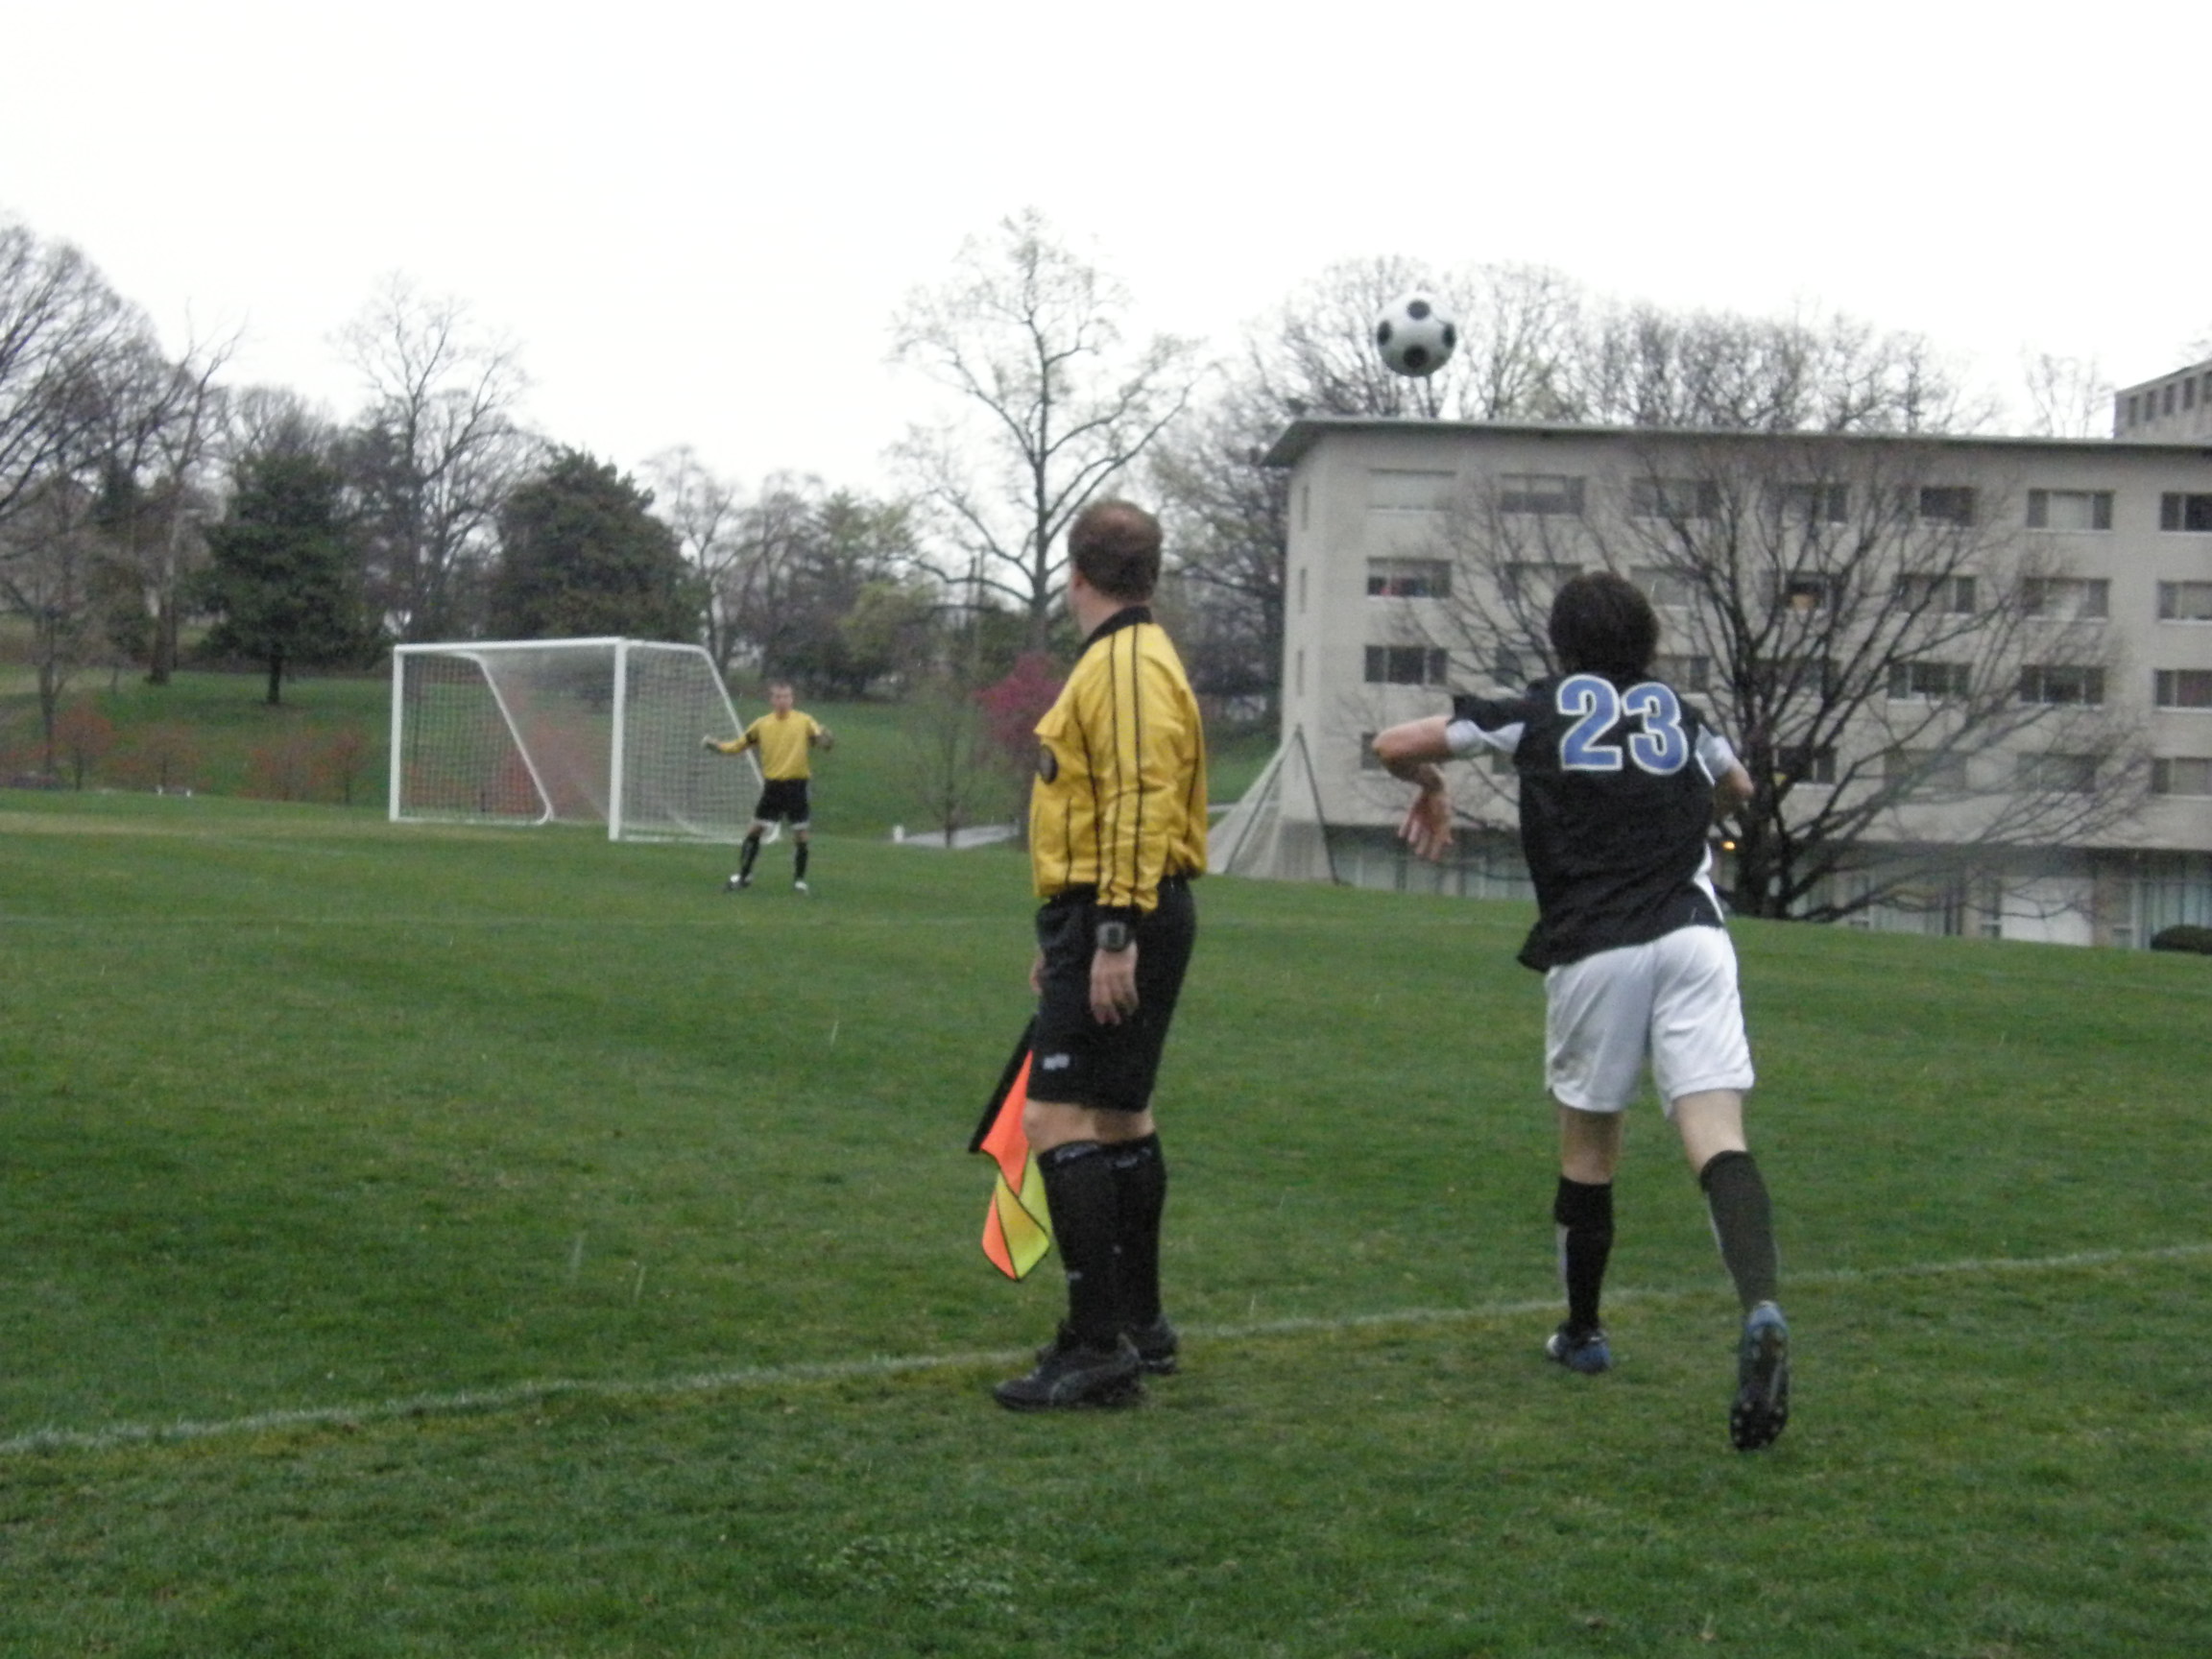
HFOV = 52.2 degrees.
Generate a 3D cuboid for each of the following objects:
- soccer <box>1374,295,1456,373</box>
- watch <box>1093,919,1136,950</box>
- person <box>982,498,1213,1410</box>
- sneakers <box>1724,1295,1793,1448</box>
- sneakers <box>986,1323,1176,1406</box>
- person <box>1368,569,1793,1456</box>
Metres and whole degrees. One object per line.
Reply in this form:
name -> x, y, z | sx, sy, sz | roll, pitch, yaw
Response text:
soccer -> 3.308, -5.318, 24.116 | 0.796, 0.805, 0.697 | 3, 5, 4
watch -> 0.030, 0.304, 6.608 | 0.102, 0.093, 0.040 | 2, 5, -5
person -> -0.003, 0.335, 6.785 | 0.522, 2.656, 0.731 | 4, 5, 11
sneakers -> 1.750, 1.446, 6.093 | 0.149, 0.412, 0.229 | 0, 11, 7
sneakers -> -0.070, 1.579, 6.743 | 0.538, 0.282, 0.201 | 0, -8, -6
person -> 1.528, 0.423, 6.713 | 0.785, 2.392, 1.548 | -2, 7, -45
